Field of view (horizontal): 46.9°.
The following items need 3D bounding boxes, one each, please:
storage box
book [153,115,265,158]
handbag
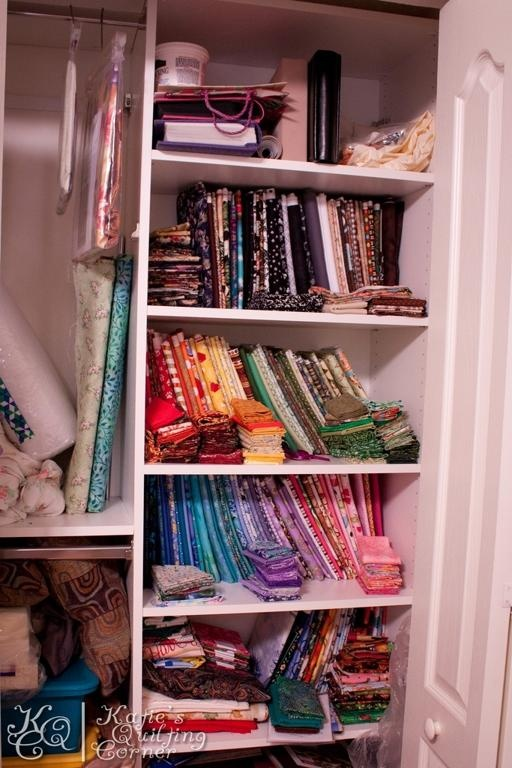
[{"bbox_3d":[-0.518,0.839,1.491,0.200,0.175,0.235,0,-3,-16],"label":"storage box"},{"bbox_3d":[-0.133,-0.605,1.462,0.285,0.075,0.159,1,10,4],"label":"book"},{"bbox_3d":[-0.071,-0.694,1.483,0.208,0.074,0.208,-4,13,-18],"label":"handbag"}]
